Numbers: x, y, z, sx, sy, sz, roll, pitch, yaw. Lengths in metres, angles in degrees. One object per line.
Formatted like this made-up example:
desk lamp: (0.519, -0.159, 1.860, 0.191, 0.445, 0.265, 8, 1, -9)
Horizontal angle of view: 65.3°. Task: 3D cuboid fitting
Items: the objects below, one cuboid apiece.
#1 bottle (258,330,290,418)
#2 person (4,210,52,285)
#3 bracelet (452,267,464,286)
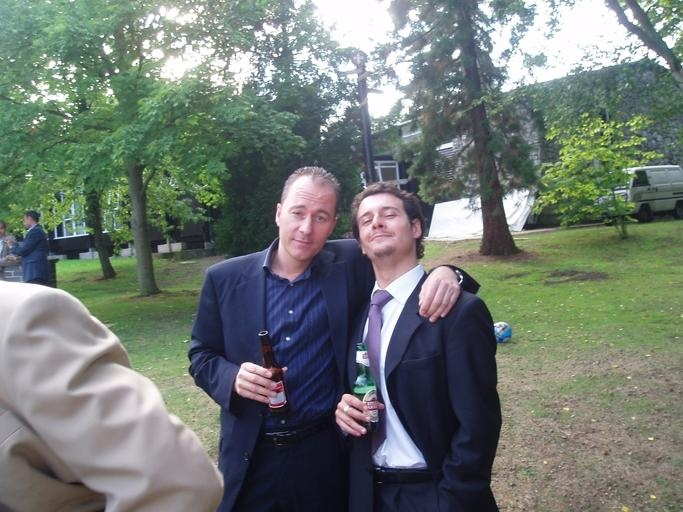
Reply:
bottle: (-0.393, 0.691, 3.137, 0.114, 0.530, 0.330, -8, 6, -9)
person: (-7.603, -0.175, 13.073, 0.796, 1.423, 1.865, -10, 6, -30)
bracelet: (0.690, 0.125, 3.155, 0.029, 0.111, 0.034, -11, -27, 6)
